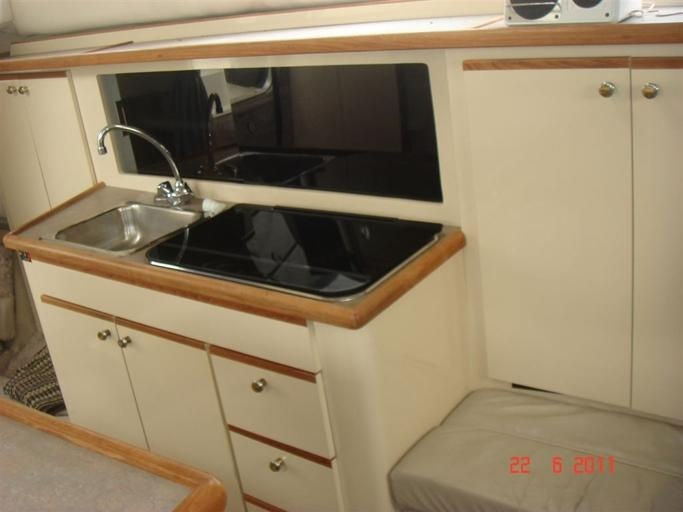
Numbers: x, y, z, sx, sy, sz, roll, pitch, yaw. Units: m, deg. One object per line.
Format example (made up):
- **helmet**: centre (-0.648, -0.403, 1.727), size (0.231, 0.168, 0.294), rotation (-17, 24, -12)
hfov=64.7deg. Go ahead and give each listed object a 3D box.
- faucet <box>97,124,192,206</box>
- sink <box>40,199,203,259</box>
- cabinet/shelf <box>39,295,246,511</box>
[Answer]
- **faucet**: centre (-0.803, -0.398, 2.224), size (0.285, 0.337, 0.450), rotation (-14, 26, -14)
- **sink**: centre (-0.922, -0.154, 2.092), size (0.300, 0.122, 0.352), rotation (14, 32, 22)
- **cabinet/shelf**: centre (-0.538, 0.385, 1.542), size (0.633, 0.575, 0.341), rotation (12, 35, 24)
